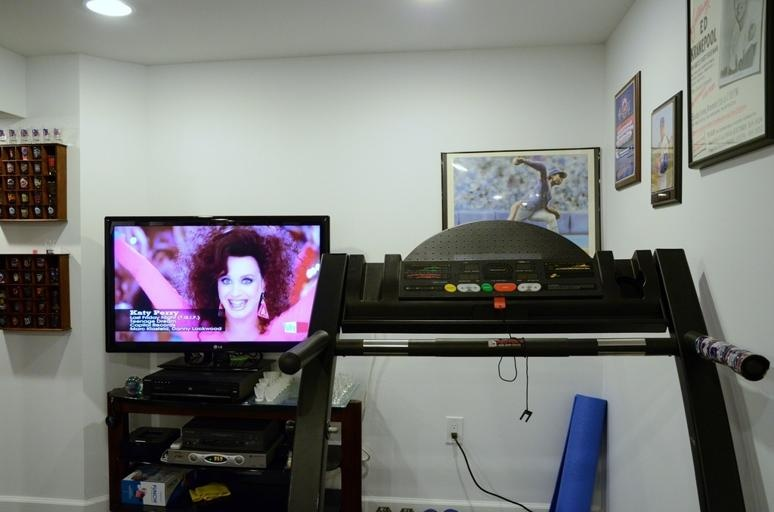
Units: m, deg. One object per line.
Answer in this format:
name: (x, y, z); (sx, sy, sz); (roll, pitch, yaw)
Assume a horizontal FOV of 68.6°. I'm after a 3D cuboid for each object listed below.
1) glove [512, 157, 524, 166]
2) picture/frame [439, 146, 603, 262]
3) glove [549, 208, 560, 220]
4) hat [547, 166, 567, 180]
glove: (0.879, -0.639, 3.815); (0.044, 0.061, 0.057); (20, 12, -41)
picture/frame: (0.930, -0.328, 3.801); (1.025, 0.780, 0.021); (-1, 4, -4)
glove: (1.122, -0.286, 3.775); (0.023, 0.073, 0.051); (-34, 2, -21)
hat: (1.134, -0.555, 3.769); (0.101, 0.041, 0.074); (2, -10, -5)
